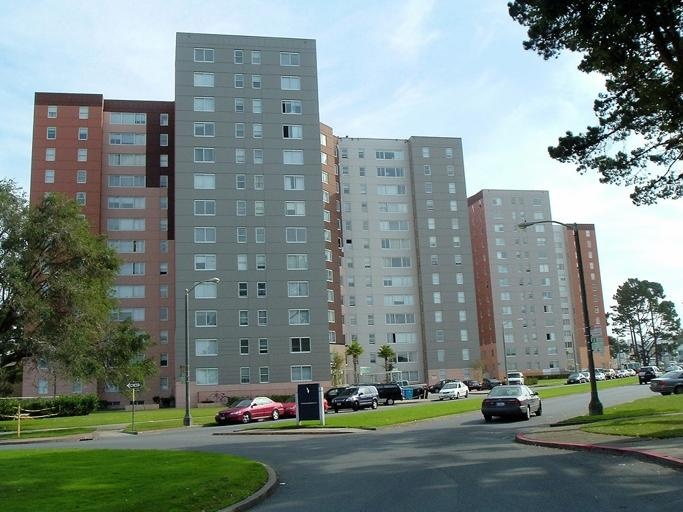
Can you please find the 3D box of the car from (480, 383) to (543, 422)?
[{"bbox_3d":[9.493,8.186,41.254,2.838,1.897,4.944,-8,-11,19],"label":"car"}]

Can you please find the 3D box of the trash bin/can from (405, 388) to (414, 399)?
[{"bbox_3d":[6.709,13.791,73.721,1.383,1.084,0.962,1,-12,-8],"label":"trash bin/can"}]

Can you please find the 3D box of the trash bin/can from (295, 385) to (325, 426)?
[{"bbox_3d":[-1.808,8.396,41.743,1.606,2.274,1.057,-6,-14,7],"label":"trash bin/can"}]
